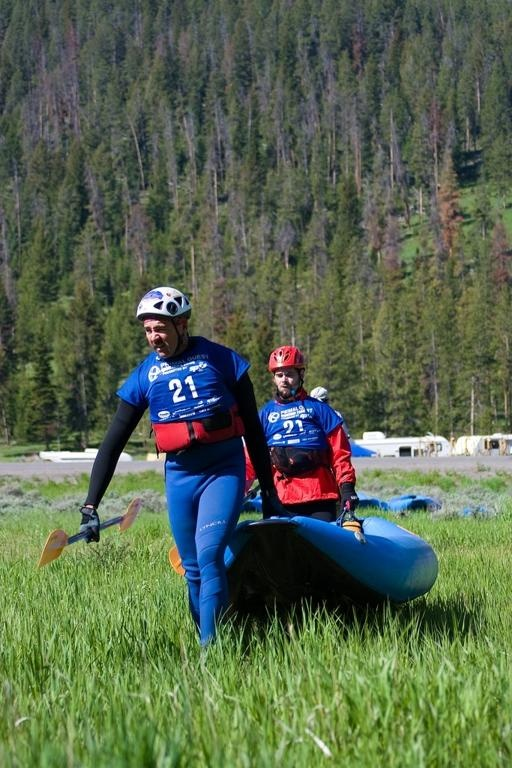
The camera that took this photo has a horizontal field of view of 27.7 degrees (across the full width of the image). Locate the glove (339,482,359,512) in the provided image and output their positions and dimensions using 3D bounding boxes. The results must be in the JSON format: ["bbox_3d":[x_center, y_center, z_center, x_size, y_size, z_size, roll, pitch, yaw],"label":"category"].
[{"bbox_3d":[0.498,0.602,5.573,0.087,0.150,0.052,-2,-2,19],"label":"glove"}]

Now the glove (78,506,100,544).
[{"bbox_3d":[-0.729,0.611,4.539,0.084,0.178,0.044,-1,-8,7],"label":"glove"}]

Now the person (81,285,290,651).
[{"bbox_3d":[-0.332,0.440,4.580,0.900,1.711,0.536,-7,0,-35],"label":"person"}]

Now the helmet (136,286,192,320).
[{"bbox_3d":[-0.411,-0.356,4.500,0.128,0.118,0.205,-14,-19,27],"label":"helmet"}]
